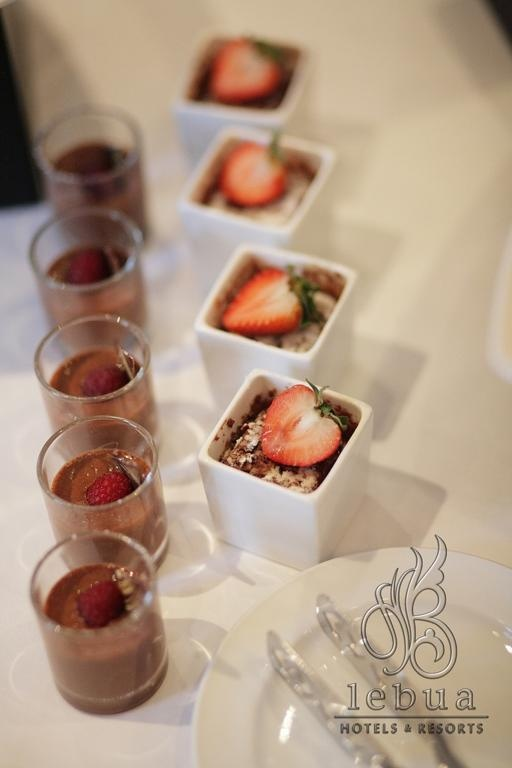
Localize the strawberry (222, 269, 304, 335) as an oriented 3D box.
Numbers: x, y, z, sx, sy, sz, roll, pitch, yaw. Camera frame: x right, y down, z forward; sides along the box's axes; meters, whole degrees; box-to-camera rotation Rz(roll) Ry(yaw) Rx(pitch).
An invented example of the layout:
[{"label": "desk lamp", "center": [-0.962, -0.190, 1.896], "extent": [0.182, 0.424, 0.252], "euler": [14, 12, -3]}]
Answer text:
[{"label": "strawberry", "center": [0.005, -0.082, 0.704], "extent": [0.078, 0.041, 0.070], "euler": [-3, 37, -6]}]

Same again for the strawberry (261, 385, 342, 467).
[{"label": "strawberry", "center": [0.036, 0.040, 0.609], "extent": [0.062, 0.042, 0.068], "euler": [-20, 42, -26]}]
